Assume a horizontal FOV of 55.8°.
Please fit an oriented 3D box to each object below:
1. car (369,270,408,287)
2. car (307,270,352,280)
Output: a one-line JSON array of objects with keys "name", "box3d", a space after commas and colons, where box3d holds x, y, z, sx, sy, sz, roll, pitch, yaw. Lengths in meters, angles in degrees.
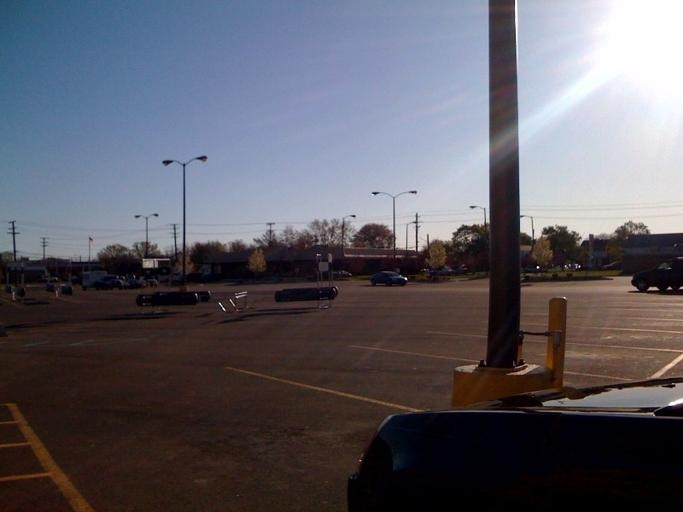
[{"name": "car", "box3d": [4.289, 2.070, 58.136, 1.418, 1.120, 3.076, 1, -5, -39]}, {"name": "car", "box3d": [-1.049, 2.193, 75.636, 3.212, 1.027, 1.919, -5, 5, -27]}]
